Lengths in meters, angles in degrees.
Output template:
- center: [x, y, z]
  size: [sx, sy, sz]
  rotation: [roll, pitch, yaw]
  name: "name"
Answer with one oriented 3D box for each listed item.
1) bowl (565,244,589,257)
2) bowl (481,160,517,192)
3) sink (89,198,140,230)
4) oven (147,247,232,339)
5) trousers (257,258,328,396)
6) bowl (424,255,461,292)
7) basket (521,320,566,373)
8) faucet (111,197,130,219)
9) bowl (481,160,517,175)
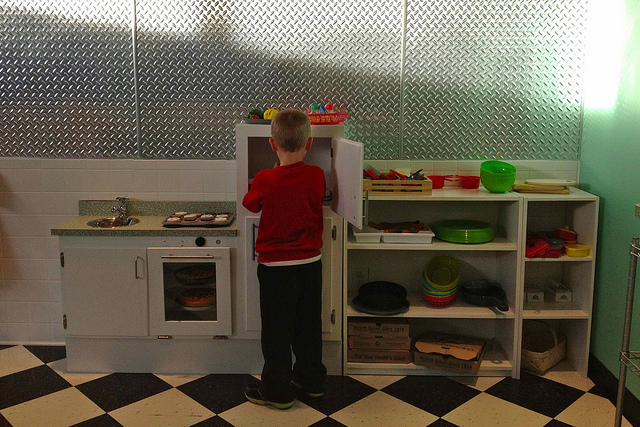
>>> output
- center: [2.188, 0.318, 4.317]
  size: [0.175, 0.092, 0.096]
  rotation: [-2, 8, 6]
  name: "bowl"
- center: [1.570, -0.330, 4.455]
  size: [0.282, 0.261, 0.277]
  rotation: [-3, 8, 0]
  name: "bowl"
- center: [-1.884, 0.016, 4.530]
  size: [0.403, 0.267, 0.406]
  rotation: [2, 11, 32]
  name: "sink"
- center: [-1.075, 0.637, 4.606]
  size: [0.909, 0.988, 0.706]
  rotation: [0, 2, -3]
  name: "oven"
- center: [-0.225, 0.884, 3.975]
  size: [0.518, 1.066, 0.254]
  rotation: [-4, 8, -2]
  name: "trousers"
- center: [1.093, 0.540, 4.527]
  size: [0.304, 0.255, 0.320]
  rotation: [-3, 8, 0]
  name: "bowl"
- center: [2.015, 1.197, 4.616]
  size: [0.505, 0.471, 0.340]
  rotation: [-4, 4, -44]
  name: "basket"
- center: [-1.847, -0.051, 4.663]
  size: [0.214, 0.191, 0.102]
  rotation: [2, 10, 29]
  name: "faucet"
- center: [1.580, -0.413, 4.486]
  size: [0.199, 0.086, 0.194]
  rotation: [0, 12, 0]
  name: "bowl"
